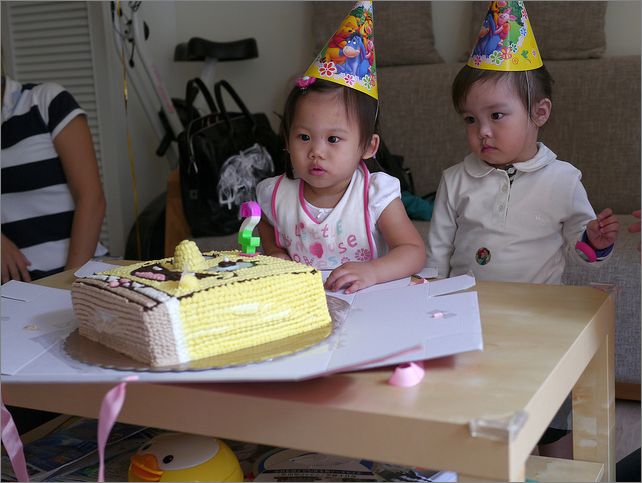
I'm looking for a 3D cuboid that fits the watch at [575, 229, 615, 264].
[{"bbox_3d":[0.544,0.017,1.072,0.052,0.032,0.070,33,33,-3],"label":"watch"}]
